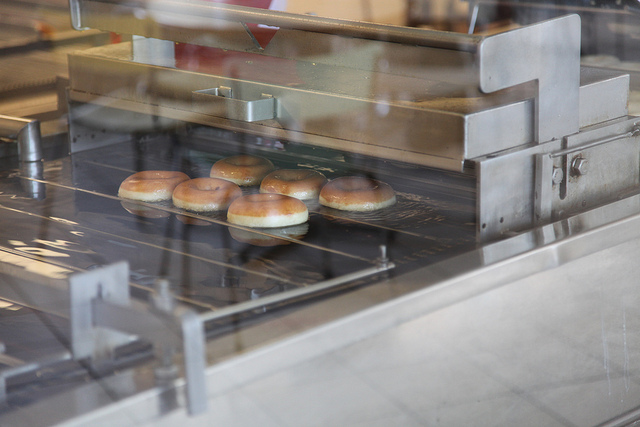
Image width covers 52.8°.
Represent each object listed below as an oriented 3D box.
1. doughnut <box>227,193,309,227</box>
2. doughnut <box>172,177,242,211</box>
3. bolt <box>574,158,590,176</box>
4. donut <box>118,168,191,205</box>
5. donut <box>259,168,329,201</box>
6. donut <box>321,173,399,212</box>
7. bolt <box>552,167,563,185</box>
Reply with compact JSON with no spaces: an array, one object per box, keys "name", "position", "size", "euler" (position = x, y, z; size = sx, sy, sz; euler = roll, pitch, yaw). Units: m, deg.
[{"name":"doughnut","position":[-0.136,-0.020,1.627],"size":[0.222,0.050,0.185],"euler":[-6,16,-24]},{"name":"doughnut","position":[-0.288,-0.052,1.704],"size":[0.161,0.059,0.178],"euler":[6,21,23]},{"name":"bolt","position":[0.603,-0.106,1.487],"size":[0.019,0.048,0.058],"euler":[14,27,34]},{"name":"donut","position":[-0.445,-0.066,1.770],"size":[0.205,0.049,0.196],"euler":[8,11,39]},{"name":"donut","position":[-0.104,-0.077,1.763],"size":[0.196,0.049,0.196],"euler":[18,21,39]},{"name":"donut","position":[0.103,-0.048,1.640],"size":[0.149,0.054,0.170],"euler":[-19,25,-39]},{"name":"bolt","position":[0.534,-0.084,1.455],"size":[0.009,0.042,0.035],"euler":[20,33,40]}]
